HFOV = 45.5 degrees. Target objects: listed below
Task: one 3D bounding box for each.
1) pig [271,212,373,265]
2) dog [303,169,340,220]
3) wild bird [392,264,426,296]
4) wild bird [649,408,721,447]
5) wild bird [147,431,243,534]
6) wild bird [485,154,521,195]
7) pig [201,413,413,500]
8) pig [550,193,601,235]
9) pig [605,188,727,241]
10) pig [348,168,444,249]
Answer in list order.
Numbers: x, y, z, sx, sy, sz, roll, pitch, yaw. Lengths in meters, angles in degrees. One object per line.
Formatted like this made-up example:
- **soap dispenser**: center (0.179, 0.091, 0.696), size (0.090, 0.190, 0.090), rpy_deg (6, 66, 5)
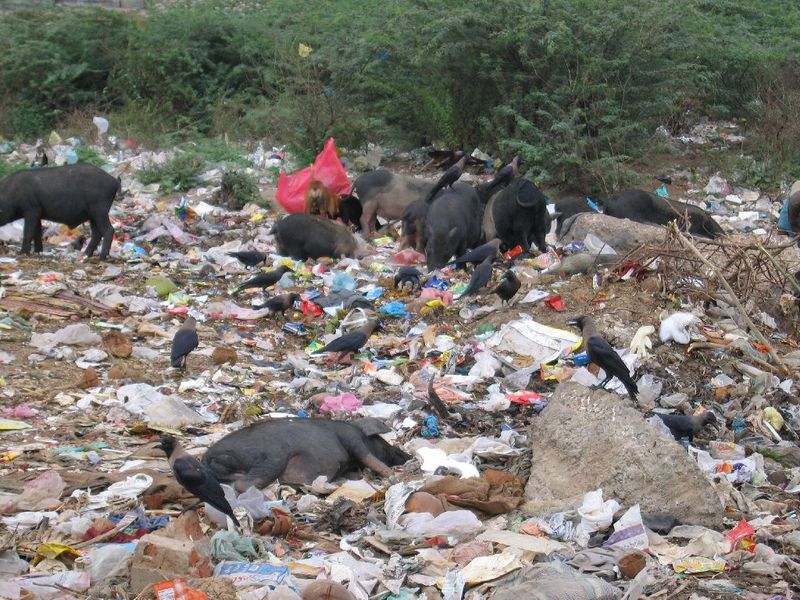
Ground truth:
- **pig**: center (-1.007, -0.760, 12.464), size (1.194, 0.629, 1.098), rpy_deg (-5, 16, -36)
- **dog**: center (-1.083, -1.401, 13.222), size (0.485, 0.564, 0.400), rpy_deg (6, 30, -4)
- **wild bird**: center (0.106, -0.293, 11.208), size (0.353, 0.337, 0.698), rpy_deg (8, 29, 0)
- **wild bird**: center (2.478, 1.083, 8.234), size (0.631, 0.230, 0.323), rpy_deg (3, 29, -8)
- **wild bird**: center (-1.589, 1.243, 7.056), size (0.822, 0.628, 0.643), rpy_deg (-5, 13, -34)
- **wild bird**: center (1.421, -1.765, 13.253), size (0.258, 0.263, 0.909), rpy_deg (-21, 22, 11)
- **pig**: center (-0.747, 1.025, 7.822), size (1.890, 0.524, 0.889), rpy_deg (-1, 16, -26)
- **pig**: center (2.381, -1.249, 13.086), size (0.636, 0.534, 0.970), rpy_deg (-13, 12, -9)
- **pig**: center (3.428, -1.146, 12.470), size (0.961, 0.477, 1.360), rpy_deg (-9, 33, -28)
- **pig**: center (0.092, -1.474, 13.621), size (1.725, 0.812, 0.574), rpy_deg (-5, 23, -5)
